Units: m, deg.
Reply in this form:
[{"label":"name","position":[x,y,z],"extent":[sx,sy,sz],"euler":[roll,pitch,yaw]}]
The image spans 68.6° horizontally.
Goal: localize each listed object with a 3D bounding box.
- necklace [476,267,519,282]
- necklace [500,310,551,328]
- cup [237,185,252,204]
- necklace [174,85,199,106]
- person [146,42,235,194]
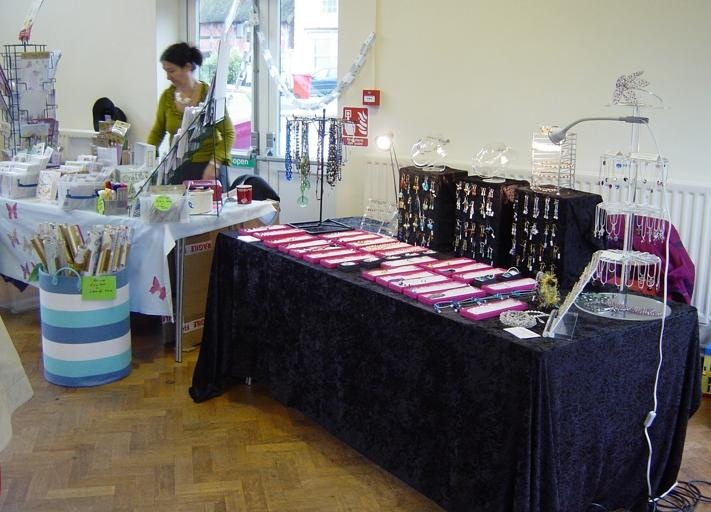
[{"label":"necklace","position":[0.670,0.094,2.485],"extent":[0.165,0.026,0.090],"euler":[-12,19,-27]},{"label":"necklace","position":[0.679,0.248,2.070],"extent":[0.235,0.027,0.140],"euler":[-2,13,-20]},{"label":"cup","position":[-0.822,-0.447,3.795],"extent":[0.098,0.120,0.104],"euler":[1,14,0]},{"label":"necklace","position":[-1.436,-1.329,4.314],"extent":[0.134,0.137,0.058],"euler":[21,10,13]},{"label":"person","position":[-1.317,-1.117,4.124],"extent":[0.636,1.159,1.290],"euler":[-3,13,-22]}]
